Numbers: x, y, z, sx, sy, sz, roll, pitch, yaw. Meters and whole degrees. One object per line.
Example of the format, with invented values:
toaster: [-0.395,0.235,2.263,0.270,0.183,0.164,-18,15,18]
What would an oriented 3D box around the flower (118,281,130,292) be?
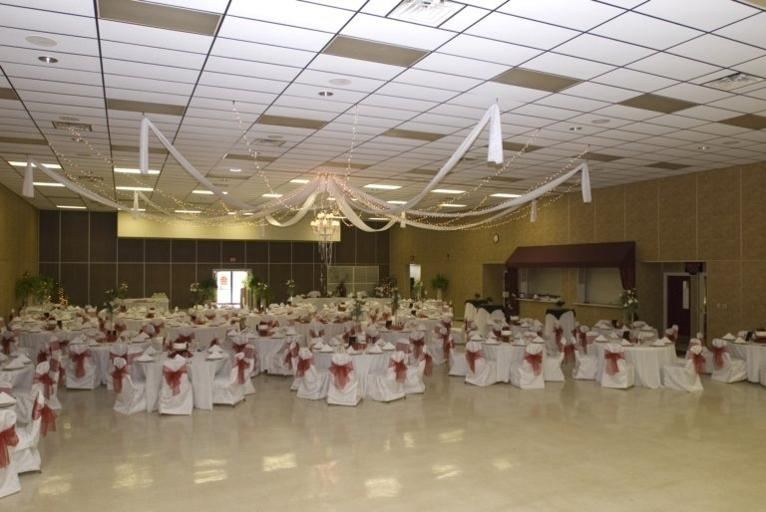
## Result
flower: [-10.903,1.258,22.478,0.471,0.178,0.179,-3,30,6]

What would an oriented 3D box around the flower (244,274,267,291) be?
flower: [-5.125,1.116,22.047,0.837,0.509,0.725,-3,0,30]

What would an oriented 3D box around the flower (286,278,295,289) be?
flower: [-4.402,1.305,25.385,0.418,0.324,0.415,9,10,40]

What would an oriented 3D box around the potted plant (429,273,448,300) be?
potted plant: [2.596,1.407,24.214,1.128,1.415,1.019,-1,1,17]
